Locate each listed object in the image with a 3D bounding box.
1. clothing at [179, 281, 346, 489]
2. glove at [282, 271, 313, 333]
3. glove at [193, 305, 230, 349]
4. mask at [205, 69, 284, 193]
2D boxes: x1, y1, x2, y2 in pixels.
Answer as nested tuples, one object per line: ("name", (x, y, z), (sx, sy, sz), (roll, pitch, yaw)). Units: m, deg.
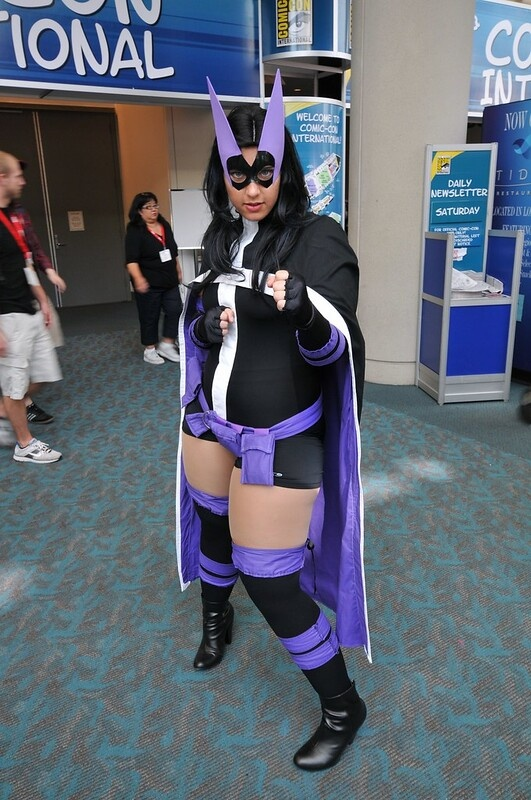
("clothing", (-0.052, -0.060, 1.112), (0.313, 0.467, 0.404), (-1, -12, -1))
("glove", (0.051, -0.154, 0.828), (0.034, 0.086, 0.064), (1, 9, 23))
("glove", (-0.113, -0.155, 1.129), (0.078, 0.061, 0.116), (4, -15, -9))
("mask", (-0.030, -0.530, 1.011), (0.142, 0.225, 0.287), (-3, 8, -3))
